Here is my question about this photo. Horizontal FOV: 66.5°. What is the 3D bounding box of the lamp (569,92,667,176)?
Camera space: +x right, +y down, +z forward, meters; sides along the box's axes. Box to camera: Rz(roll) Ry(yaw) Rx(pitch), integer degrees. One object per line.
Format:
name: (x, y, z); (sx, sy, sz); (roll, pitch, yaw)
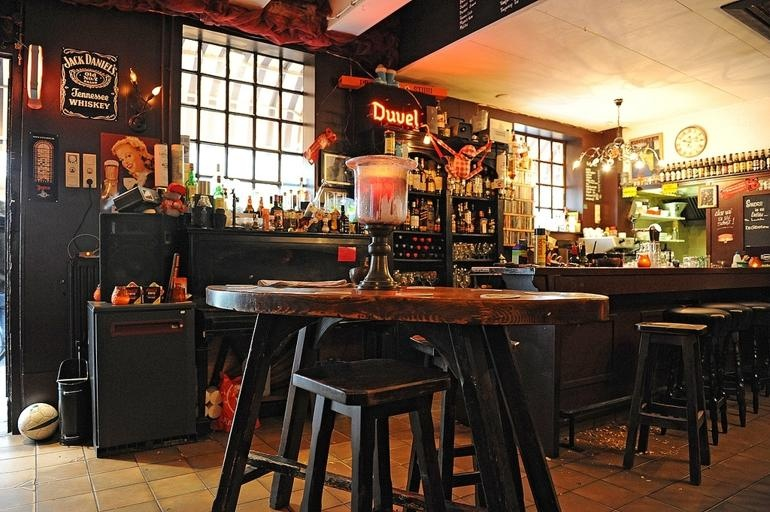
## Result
lamp: (3.648, -1.958, 9.484); (1.175, 0.866, 1.195); (5, 9, 38)

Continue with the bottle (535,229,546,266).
bottle: (1.527, -0.096, 5.770); (0.100, 0.362, 0.137); (0, 4, 7)

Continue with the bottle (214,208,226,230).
bottle: (-1.636, -0.381, 5.939); (0.119, 0.207, 0.086); (-2, 4, -25)

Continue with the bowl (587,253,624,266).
bowl: (2.198, 0.040, 5.898); (0.315, 0.133, 0.311); (-1, 3, 0)

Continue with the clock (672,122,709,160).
clock: (4.830, -1.835, 9.291); (0.080, 0.722, 0.677); (-1, 0, -34)

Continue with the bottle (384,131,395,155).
bottle: (0.074, -1.396, 7.188); (0.140, 0.300, 0.243); (-1, 3, 1)

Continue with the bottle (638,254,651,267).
bottle: (2.802, 0.056, 6.393); (0.168, 0.151, 0.168); (-1, -2, 31)

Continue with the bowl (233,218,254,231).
bowl: (-1.436, -0.336, 6.092); (0.205, 0.119, 0.195); (-1, 3, 0)

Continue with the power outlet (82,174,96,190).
power outlet: (-3.032, -0.760, 6.104); (0.129, 0.125, 0.029); (-6, 2, -9)

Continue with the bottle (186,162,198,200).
bottle: (-2.002, -0.785, 6.154); (0.105, 0.394, 0.519); (-2, 3, -18)

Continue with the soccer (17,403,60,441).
soccer: (-3.184, 1.549, 5.478); (0.298, 0.283, 0.366); (-23, -7, -18)

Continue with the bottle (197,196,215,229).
bottle: (-1.793, -0.460, 5.929); (0.171, 0.322, 0.107); (-3, 4, -35)

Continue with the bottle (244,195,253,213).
bottle: (-1.444, -0.561, 6.340); (0.077, 0.178, 0.313); (-2, 3, -13)

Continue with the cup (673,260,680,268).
cup: (3.508, 0.095, 7.120); (0.094, 0.070, 0.073); (4, -8, -28)

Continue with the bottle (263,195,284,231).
bottle: (-1.177, -0.481, 6.372); (0.191, 0.383, 0.392); (-1, 3, -3)

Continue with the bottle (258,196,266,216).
bottle: (-1.301, -0.538, 6.364); (0.084, 0.223, 0.368); (-1, 3, -12)

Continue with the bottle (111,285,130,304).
bottle: (-2.378, 0.368, 5.435); (0.156, 0.144, 0.158); (-2, -7, 22)

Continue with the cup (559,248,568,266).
cup: (1.924, 0.002, 6.341); (0.088, 0.154, 0.290); (0, 3, 16)

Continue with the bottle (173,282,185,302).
bottle: (-1.931, 0.342, 5.574); (0.117, 0.174, 0.104); (-2, 4, -15)

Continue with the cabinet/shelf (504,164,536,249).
cabinet/shelf: (1.933, -0.716, 8.431); (0.674, 1.112, 0.215); (-4, 5, -43)
